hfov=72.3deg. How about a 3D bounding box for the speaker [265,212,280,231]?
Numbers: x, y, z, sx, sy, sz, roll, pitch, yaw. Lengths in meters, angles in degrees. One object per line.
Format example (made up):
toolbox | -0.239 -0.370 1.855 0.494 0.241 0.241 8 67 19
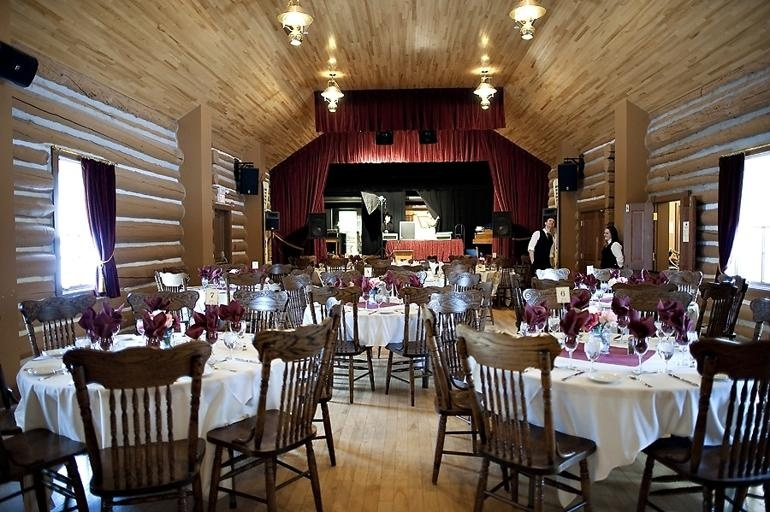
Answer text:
speaker | -3.029 -0.979 14.144 0.403 0.484 0.189 -8 14 -29

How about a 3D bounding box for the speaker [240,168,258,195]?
speaker | -3.319 -1.854 12.845 0.541 0.822 0.420 2 3 -4

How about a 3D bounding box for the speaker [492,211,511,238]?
speaker | 2.969 -0.822 13.433 0.529 0.831 0.557 0 -1 11

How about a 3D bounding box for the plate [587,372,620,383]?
plate | 1.626 0.901 3.944 0.219 0.026 0.144 0 13 4

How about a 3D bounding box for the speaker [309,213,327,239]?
speaker | -1.704 -0.875 14.500 0.562 0.888 0.596 1 4 8

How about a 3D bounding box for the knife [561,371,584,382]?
knife | 1.418 0.898 3.994 0.263 0.009 0.061 -11 16 -37

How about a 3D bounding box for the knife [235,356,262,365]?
knife | -1.109 0.847 4.293 0.154 0.041 0.150 3 -1 6

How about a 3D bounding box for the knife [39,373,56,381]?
knife | -2.630 0.933 4.109 0.119 0.022 0.105 -6 14 -20

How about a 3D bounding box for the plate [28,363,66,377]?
plate | -2.679 0.907 4.196 0.211 0.031 0.222 4 1 -2
